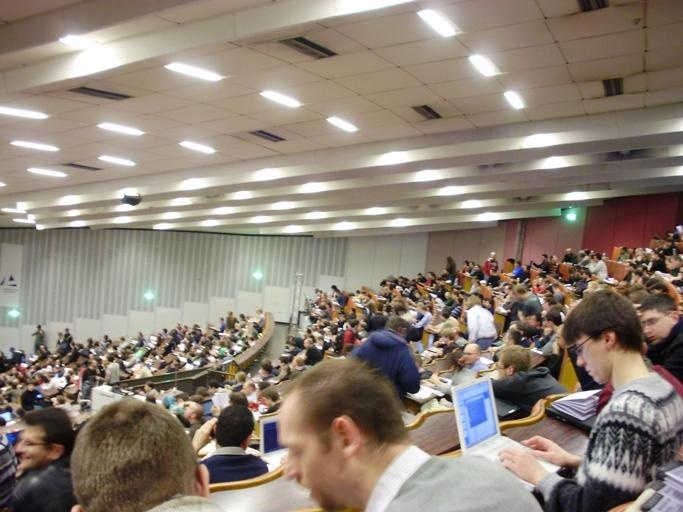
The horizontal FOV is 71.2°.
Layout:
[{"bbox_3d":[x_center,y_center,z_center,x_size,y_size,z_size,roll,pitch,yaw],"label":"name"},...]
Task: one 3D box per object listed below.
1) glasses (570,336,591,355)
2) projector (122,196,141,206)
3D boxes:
[{"bbox_3d":[1.046,0.392,2.122,0.027,0.077,0.082,20,-10,32],"label":"glasses"},{"bbox_3d":[-6.487,-1.731,14.769,0.461,0.282,0.385,1,-2,-35],"label":"projector"}]
